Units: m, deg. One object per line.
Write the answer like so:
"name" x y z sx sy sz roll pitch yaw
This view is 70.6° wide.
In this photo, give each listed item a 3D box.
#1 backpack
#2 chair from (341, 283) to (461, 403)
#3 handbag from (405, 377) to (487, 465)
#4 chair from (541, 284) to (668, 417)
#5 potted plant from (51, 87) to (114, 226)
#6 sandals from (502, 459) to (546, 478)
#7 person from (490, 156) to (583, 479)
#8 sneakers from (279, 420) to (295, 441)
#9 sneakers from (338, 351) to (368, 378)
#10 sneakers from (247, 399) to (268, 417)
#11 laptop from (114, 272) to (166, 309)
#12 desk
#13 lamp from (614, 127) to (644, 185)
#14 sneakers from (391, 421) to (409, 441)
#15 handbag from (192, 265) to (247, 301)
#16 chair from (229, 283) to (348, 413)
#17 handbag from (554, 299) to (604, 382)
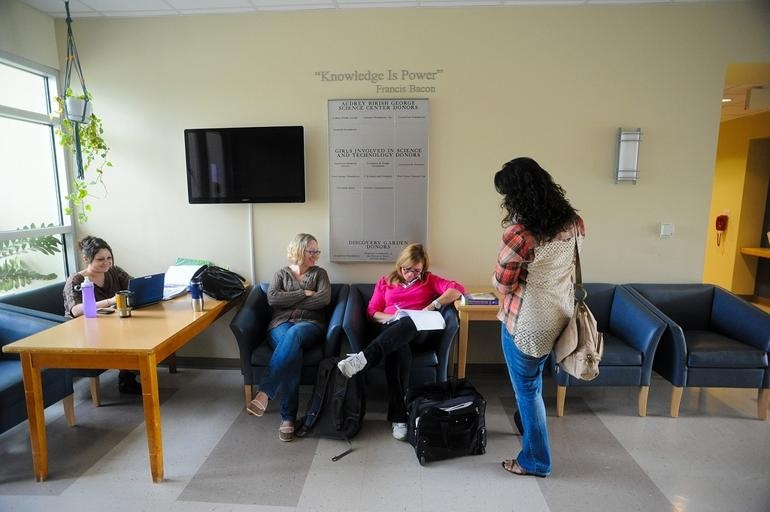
"backpack" -0.434 1.197 4.577 0.577 0.697 0.394 1 -19 17
"chair" 0.122 0.741 5.079 1.110 0.995 0.911 0 1 -5
"handbag" 0.496 1.319 4.460 0.633 0.514 0.537 -3 16 -10
"chair" 2.088 0.760 5.265 1.157 1.327 1.113 0 4 6
"potted plant" -3.030 -0.989 5.417 0.586 1.335 0.380 4 10 22
"sandals" 1.089 1.644 4.224 0.289 0.071 0.126 4 13 14
"person" 1.128 0.486 4.121 0.632 2.414 0.278 2 10 12
"sneakers" -0.813 1.462 4.563 0.090 0.065 0.177 2 10 0
"sneakers" -0.263 0.904 4.540 0.243 0.209 0.113 1 9 9
"sneakers" -1.092 1.313 4.710 0.112 0.097 0.266 27 -15 5
"laptop" -2.135 0.272 4.831 0.263 0.256 0.345 0 4 38
"desk" -2.111 0.586 4.527 1.107 1.059 2.186 1 7 3
"lamp" 2.333 -0.963 5.220 0.250 0.476 0.108 1 5 12
"sneakers" 0.135 1.456 4.537 0.118 0.146 0.334 1 -10 -3
"handbag" -1.552 0.258 5.151 0.370 0.136 0.341 17 11 -9
"chair" -0.791 0.750 5.292 1.173 1.235 0.995 0 6 -2
"handbag" 1.463 0.666 4.139 0.360 0.704 0.708 3 -2 8
